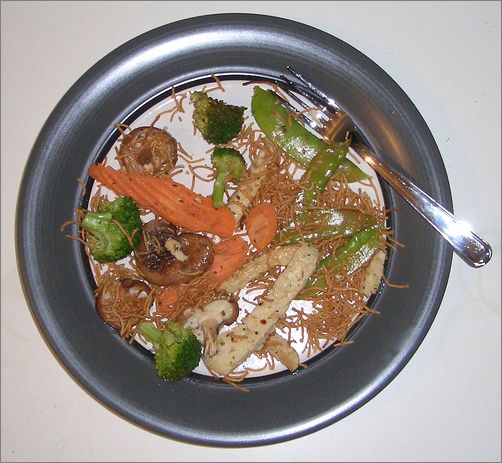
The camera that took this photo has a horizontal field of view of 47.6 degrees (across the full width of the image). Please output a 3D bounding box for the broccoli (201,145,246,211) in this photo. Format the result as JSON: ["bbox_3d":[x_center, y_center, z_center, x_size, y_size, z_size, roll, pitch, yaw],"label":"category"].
[{"bbox_3d":[-0.147,-0.259,2.705,0.196,0.152,0.270,32,69,-11],"label":"broccoli"}]

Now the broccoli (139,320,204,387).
[{"bbox_3d":[-0.363,0.514,2.587,0.245,0.150,0.314,-27,54,-36],"label":"broccoli"}]

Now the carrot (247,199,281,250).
[{"bbox_3d":[0.056,-0.024,2.706,0.217,0.069,0.239,2,92,-1],"label":"carrot"}]
